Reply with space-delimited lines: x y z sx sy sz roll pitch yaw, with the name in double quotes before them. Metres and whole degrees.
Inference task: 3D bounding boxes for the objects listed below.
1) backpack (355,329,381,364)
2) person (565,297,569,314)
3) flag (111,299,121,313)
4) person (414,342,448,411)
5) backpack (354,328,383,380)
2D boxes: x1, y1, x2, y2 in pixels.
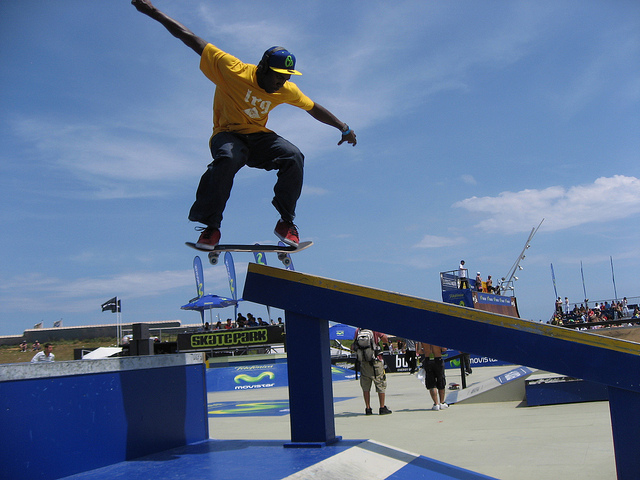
"backpack" 0.850 1.884 10.436 0.437 0.580 0.405 -4 -8 4
"person" 12.936 3.544 30.856 0.183 0.660 1.030 -6 -8 19
"flag" -7.277 2.372 21.022 0.240 0.428 1.127 0 -8 -22
"person" 2.032 2.268 10.782 0.571 1.595 0.504 -1 -16 -7
"backpack" 0.854 2.021 10.509 0.538 0.826 0.488 -2 -4 17
